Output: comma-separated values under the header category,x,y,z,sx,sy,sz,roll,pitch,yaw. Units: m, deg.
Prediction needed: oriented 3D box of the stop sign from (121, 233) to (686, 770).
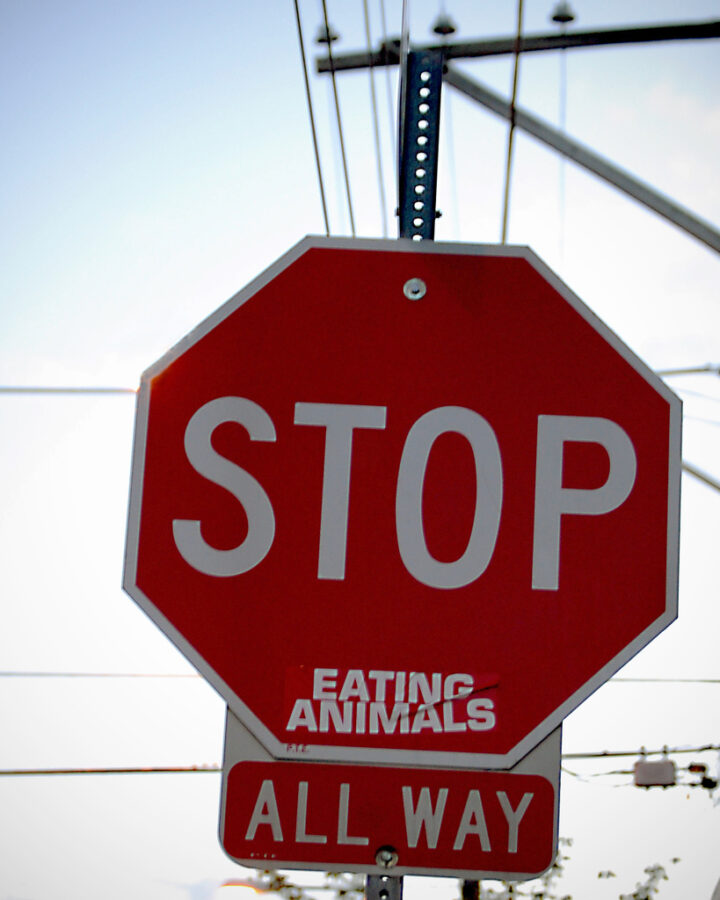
category,x,y,z,sx,sy,sz,roll,pitch,yaw
stop sign,0.075,0.128,2.889,0.685,0.792,0.054,0,-3,0
